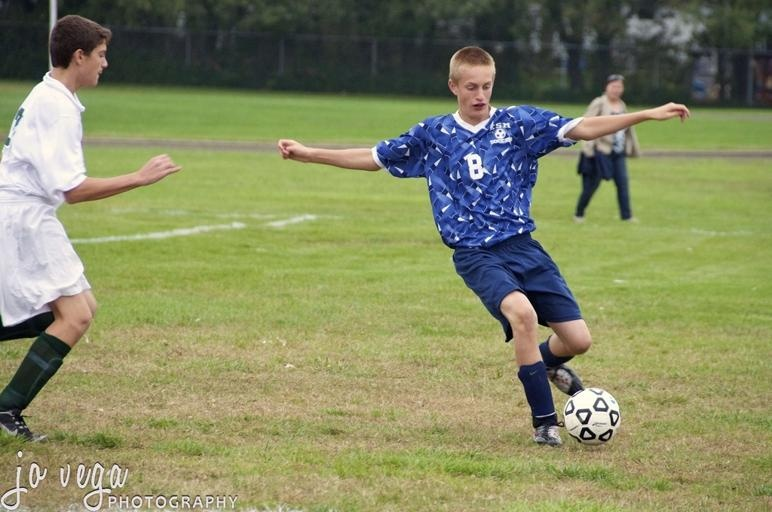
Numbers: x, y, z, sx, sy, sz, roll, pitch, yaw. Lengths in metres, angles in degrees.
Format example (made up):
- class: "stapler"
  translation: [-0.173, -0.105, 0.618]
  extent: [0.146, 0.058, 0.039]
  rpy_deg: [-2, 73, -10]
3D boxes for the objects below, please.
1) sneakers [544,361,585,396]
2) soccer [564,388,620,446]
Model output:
- class: "sneakers"
  translation: [1.617, 1.112, 12.729]
  extent: [0.376, 0.203, 0.148]
  rpy_deg: [42, 20, -3]
- class: "soccer"
  translation: [1.824, 1.385, 12.517]
  extent: [0.506, 0.445, 0.496]
  rpy_deg: [-13, -4, 12]
